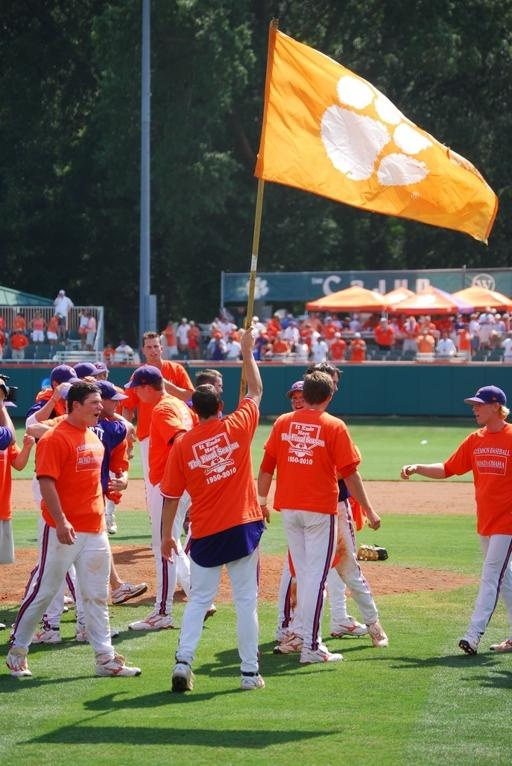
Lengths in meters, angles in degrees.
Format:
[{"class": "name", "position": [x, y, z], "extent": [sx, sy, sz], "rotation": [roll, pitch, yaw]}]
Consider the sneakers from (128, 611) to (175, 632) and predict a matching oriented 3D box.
[{"class": "sneakers", "position": [-0.709, 1.636, 9.426], "extent": [0.323, 0.142, 0.119], "rotation": [2, -5, -7]}]

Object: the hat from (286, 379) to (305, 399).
[{"class": "hat", "position": [0.282, 0.024, 9.428], "extent": [0.118, 0.105, 0.198], "rotation": [-4, -27, -1]}]

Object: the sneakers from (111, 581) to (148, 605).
[{"class": "sneakers", "position": [-0.927, 1.538, 10.025], "extent": [0.247, 0.118, 0.085], "rotation": [-27, 4, 7]}]

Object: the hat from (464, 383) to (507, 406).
[{"class": "hat", "position": [1.503, 0.079, 8.835], "extent": [0.281, 0.170, 0.190], "rotation": [7, -5, 1]}]

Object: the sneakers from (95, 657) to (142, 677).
[{"class": "sneakers", "position": [-0.838, 1.721, 8.337], "extent": [0.309, 0.139, 0.111], "rotation": [2, 1, -5]}]

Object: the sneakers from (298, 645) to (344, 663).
[{"class": "sneakers", "position": [0.402, 1.708, 8.640], "extent": [0.300, 0.133, 0.103], "rotation": [-1, 3, -13]}]

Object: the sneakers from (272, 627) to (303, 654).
[{"class": "sneakers", "position": [0.203, 1.690, 8.925], "extent": [0.202, 0.121, 0.096], "rotation": [2, -2, -26]}]

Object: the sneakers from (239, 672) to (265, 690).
[{"class": "sneakers", "position": [-0.017, 1.742, 8.043], "extent": [0.065, 0.078, 0.181], "rotation": [1, 0, 16]}]

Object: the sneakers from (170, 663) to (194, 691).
[{"class": "sneakers", "position": [-0.429, 1.706, 7.965], "extent": [0.084, 0.103, 0.213], "rotation": [0, -31, 3]}]

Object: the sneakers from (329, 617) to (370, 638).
[{"class": "sneakers", "position": [0.632, 1.659, 9.367], "extent": [0.287, 0.174, 0.109], "rotation": [-2, 3, -1]}]

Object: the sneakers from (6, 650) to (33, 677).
[{"class": "sneakers", "position": [-1.436, 1.710, 8.368], "extent": [0.081, 0.107, 0.245], "rotation": [3, 2, -6]}]

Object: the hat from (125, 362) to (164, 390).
[{"class": "hat", "position": [-0.785, -0.044, 9.622], "extent": [0.207, 0.124, 0.154], "rotation": [5, 21, 29]}]

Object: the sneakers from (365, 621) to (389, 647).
[{"class": "sneakers", "position": [0.786, 1.645, 8.965], "extent": [0.097, 0.205, 0.087], "rotation": [-16, -3, 6]}]

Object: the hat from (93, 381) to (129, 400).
[{"class": "hat", "position": [-1.017, 0.055, 9.672], "extent": [0.186, 0.099, 0.120], "rotation": [16, 12, -2]}]

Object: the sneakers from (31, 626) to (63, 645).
[{"class": "sneakers", "position": [-1.377, 1.693, 9.205], "extent": [0.219, 0.142, 0.086], "rotation": [4, -5, 3]}]

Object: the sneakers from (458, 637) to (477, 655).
[{"class": "sneakers", "position": [1.346, 1.657, 8.645], "extent": [0.068, 0.085, 0.177], "rotation": [10, -27, 40]}]

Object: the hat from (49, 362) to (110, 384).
[{"class": "hat", "position": [-1.328, -0.088, 10.312], "extent": [0.341, 0.152, 0.218], "rotation": [-5, 5, -8]}]
